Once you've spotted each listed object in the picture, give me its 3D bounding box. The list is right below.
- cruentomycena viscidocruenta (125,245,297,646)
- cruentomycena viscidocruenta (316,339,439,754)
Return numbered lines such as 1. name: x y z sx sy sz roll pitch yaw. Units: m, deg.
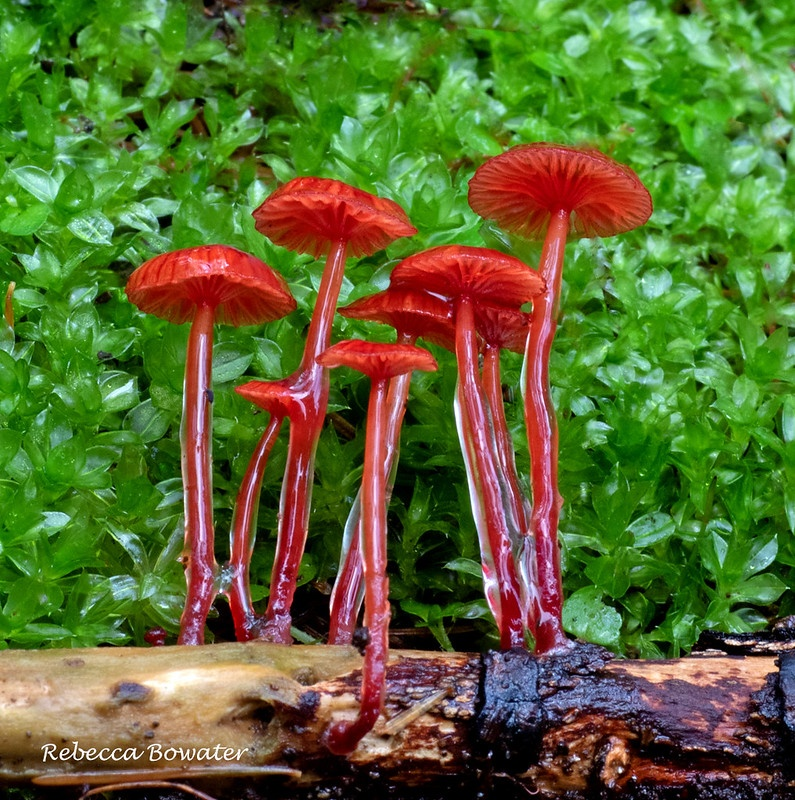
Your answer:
1. cruentomycena viscidocruenta: -0.425 0.067 2.091 0.345 0.789 0.593 5 6 0
2. cruentomycena viscidocruenta: -0.055 0.247 1.816 0.220 0.708 0.404 4 7 -6
